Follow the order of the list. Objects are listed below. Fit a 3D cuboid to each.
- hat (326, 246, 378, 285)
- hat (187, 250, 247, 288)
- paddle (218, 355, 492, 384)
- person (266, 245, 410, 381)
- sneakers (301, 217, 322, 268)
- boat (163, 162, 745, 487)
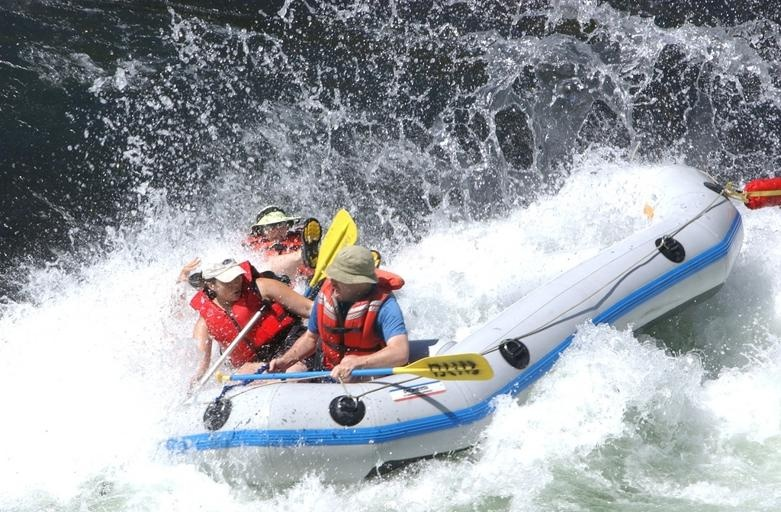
[{"bbox_3d":[-0.435,0.118,10.220,0.466,0.266,0.418,17,21,25],"label":"hat"},{"bbox_3d":[-2.112,0.212,10.770,0.564,0.391,0.288,-19,91,25],"label":"hat"},{"bbox_3d":[-0.328,1.343,10.469,2.873,0.232,0.457,0,66,1],"label":"paddle"},{"bbox_3d":[-0.693,0.735,10.715,0.939,1.667,0.837,19,33,35],"label":"person"},{"bbox_3d":[-1.047,-0.168,11.767,0.259,0.231,0.659,0,92,40],"label":"sneakers"},{"bbox_3d":[1.148,1.055,10.792,5.831,1.035,3.286,-33,31,-11],"label":"boat"}]
